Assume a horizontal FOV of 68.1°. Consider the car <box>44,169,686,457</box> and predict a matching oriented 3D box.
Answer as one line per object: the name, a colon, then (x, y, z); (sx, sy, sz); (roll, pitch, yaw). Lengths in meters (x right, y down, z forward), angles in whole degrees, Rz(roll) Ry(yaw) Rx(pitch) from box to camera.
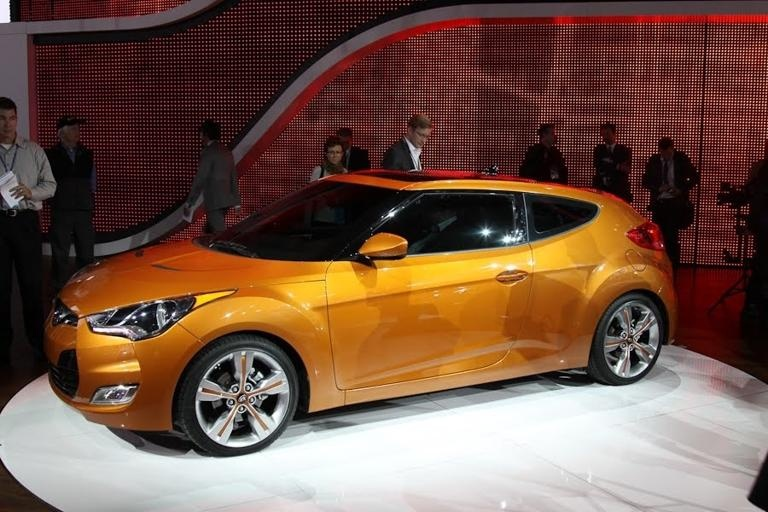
car: (-0.052, 0.379, 5.085); (4.903, 1.684, 2.363); (-1, 7, -25)
